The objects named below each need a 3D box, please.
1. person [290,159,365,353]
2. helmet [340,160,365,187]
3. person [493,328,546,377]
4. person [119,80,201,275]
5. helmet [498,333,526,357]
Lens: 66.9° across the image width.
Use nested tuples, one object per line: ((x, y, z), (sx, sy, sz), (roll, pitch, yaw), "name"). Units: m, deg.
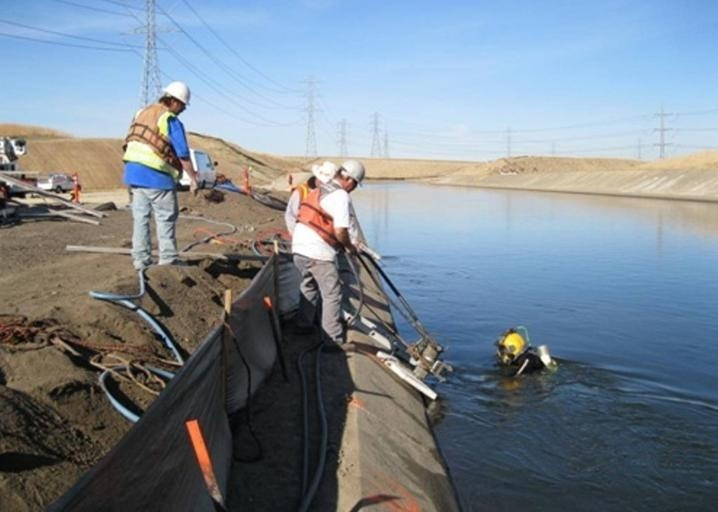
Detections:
((-0.419, -0.033, 7.180), (0.930, 2.337, 0.985), (-2, 14, -3), "person")
((-0.018, -1.121, 7.398), (0.376, 0.212, 0.288), (21, 17, -42), "helmet")
((2.614, 1.425, 8.230), (0.866, 0.378, 0.826), (19, 27, 26), "person")
((-2.513, -0.981, 6.895), (0.904, 2.335, 0.760), (-7, 15, -22), "person")
((2.303, 1.348, 8.116), (0.255, 0.309, 0.386), (-14, 18, -42), "helmet")
